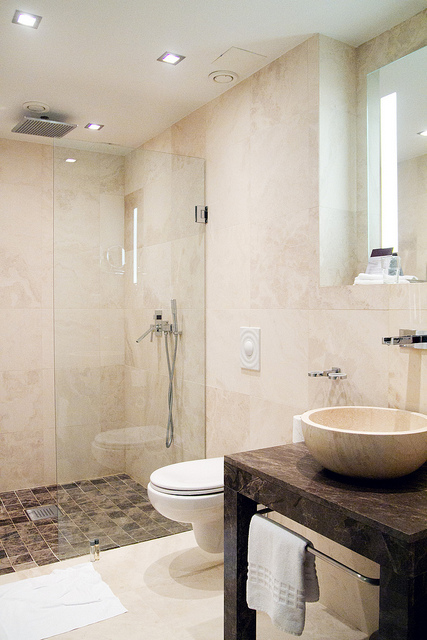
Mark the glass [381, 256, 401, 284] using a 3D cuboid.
[{"bbox_3d":[0.631,-0.177,1.823,0.045,0.105,0.104,0,-1,0],"label":"glass"}]

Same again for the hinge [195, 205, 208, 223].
[{"bbox_3d":[-0.066,-0.599,2.890,0.081,0.085,0.020,-6,7,-28],"label":"hinge"}]

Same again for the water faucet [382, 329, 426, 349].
[{"bbox_3d":[0.597,0.062,1.589,0.113,0.063,0.304,0,-1,23],"label":"water faucet"}]

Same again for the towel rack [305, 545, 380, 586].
[{"bbox_3d":[0.293,0.564,1.171,0.071,0.021,0.227,-8,1,-23],"label":"towel rack"}]

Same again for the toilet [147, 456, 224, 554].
[{"bbox_3d":[-0.123,0.715,2.221,0.391,0.361,0.431,-1,-4,-18],"label":"toilet"}]
